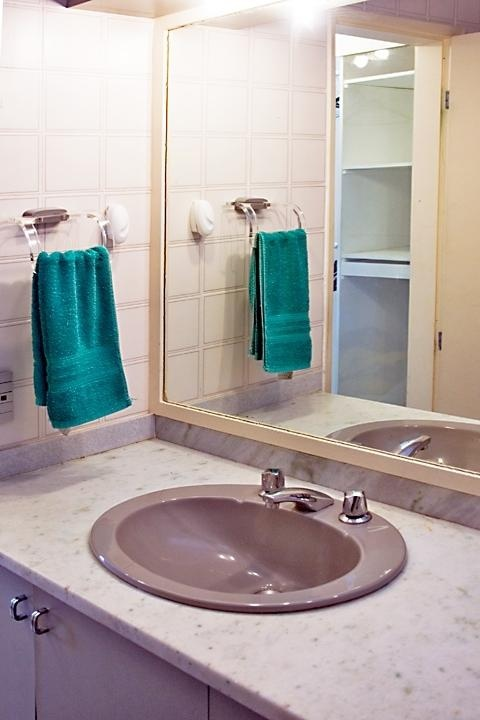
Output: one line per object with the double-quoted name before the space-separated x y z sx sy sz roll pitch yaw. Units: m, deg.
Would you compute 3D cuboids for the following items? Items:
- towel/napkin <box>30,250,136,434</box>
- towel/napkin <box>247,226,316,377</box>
"towel/napkin" -0.316 -0.052 1.173 0.190 0.346 0.113 -5 7 -22
"towel/napkin" 0.080 -0.121 1.229 0.029 0.295 0.163 -8 9 -42
